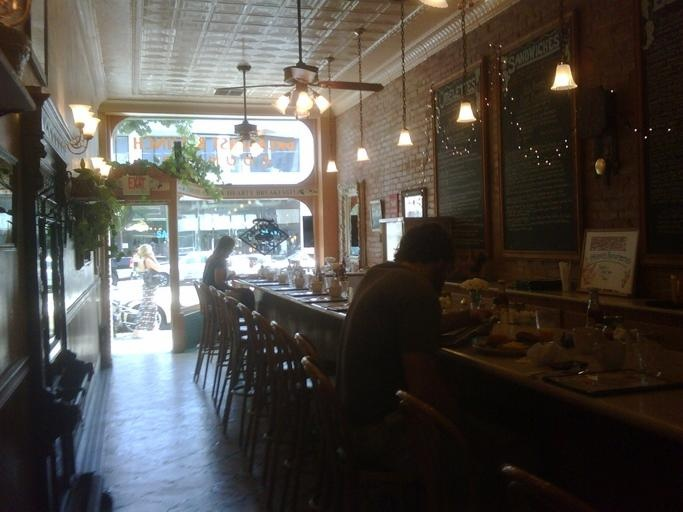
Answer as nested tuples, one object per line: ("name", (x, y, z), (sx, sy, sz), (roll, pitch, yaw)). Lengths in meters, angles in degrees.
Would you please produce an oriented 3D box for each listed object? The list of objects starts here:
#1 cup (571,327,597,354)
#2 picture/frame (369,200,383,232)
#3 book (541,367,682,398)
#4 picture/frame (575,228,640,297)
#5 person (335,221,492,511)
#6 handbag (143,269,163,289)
("cup", (1.104, 0.396, 2.418), (0.087, 0.085, 0.100), (1, -6, 7))
("picture/frame", (0.610, -0.709, 9.145), (0.103, 0.681, 0.565), (1, -1, -16))
("book", (1.095, 0.506, 2.145), (0.516, 0.039, 0.252), (-1, 3, -7))
("picture/frame", (2.372, 0.061, 4.680), (0.047, 0.731, 0.562), (14, -9, -26))
("person", (0.252, 0.457, 2.448), (0.631, 1.220, 1.284), (-1, 2, 9))
("handbag", (-3.109, 0.390, 8.698), (0.243, 0.331, 0.587), (-2, 3, -26))
